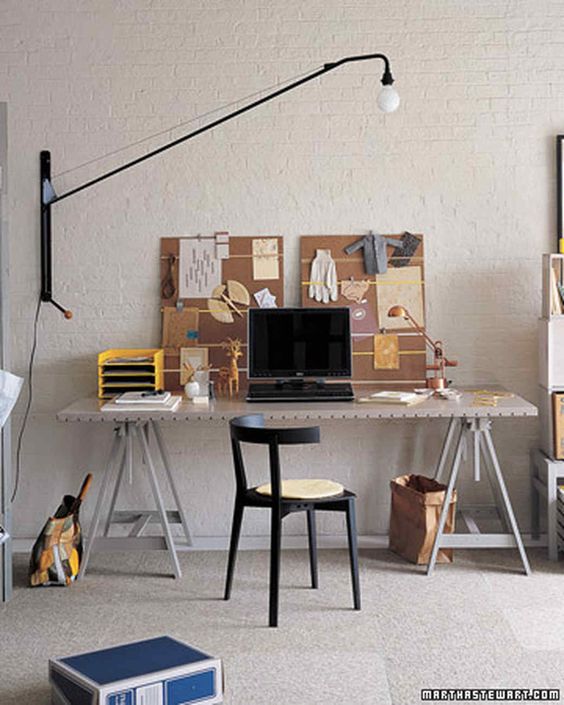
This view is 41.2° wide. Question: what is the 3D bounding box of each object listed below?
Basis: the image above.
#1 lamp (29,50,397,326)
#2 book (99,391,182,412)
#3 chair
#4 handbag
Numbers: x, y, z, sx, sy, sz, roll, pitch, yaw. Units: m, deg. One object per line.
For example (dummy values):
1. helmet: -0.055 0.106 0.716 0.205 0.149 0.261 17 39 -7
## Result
1. lamp: -0.576 -0.649 3.399 1.301 0.935 1.314 1 3 15
2. book: -0.612 0.215 3.280 0.326 0.063 0.308 -1 3 -3
3. chair: 0.039 0.606 2.850 0.503 0.660 0.502 0 -4 3
4. handbag: -0.968 0.810 3.223 0.246 0.327 0.208 -3 3 -32
